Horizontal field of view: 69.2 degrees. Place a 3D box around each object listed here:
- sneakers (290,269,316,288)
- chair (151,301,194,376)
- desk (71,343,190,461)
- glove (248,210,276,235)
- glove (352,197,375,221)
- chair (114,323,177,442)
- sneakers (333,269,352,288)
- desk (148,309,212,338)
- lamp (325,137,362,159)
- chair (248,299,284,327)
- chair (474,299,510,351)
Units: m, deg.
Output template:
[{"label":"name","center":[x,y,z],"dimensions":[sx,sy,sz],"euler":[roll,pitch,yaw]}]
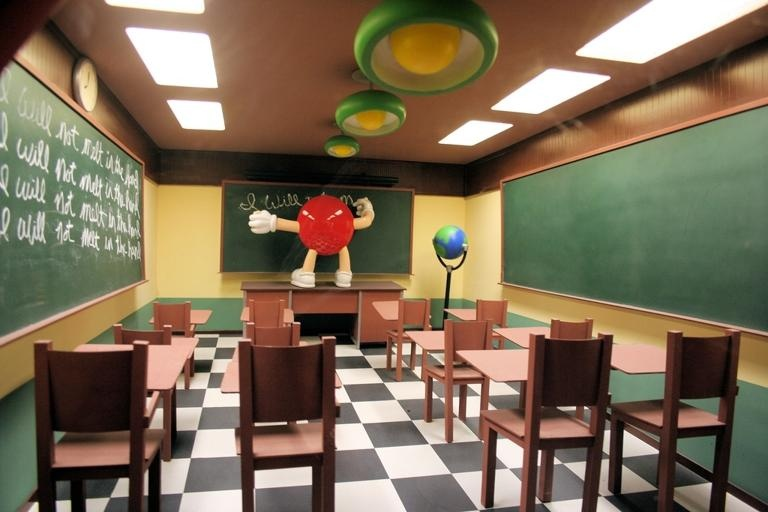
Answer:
[{"label":"sneakers","center":[-0.964,0.253,6.481],"dimensions":[0.320,0.218,0.208],"euler":[-1,-1,11]},{"label":"chair","center":[-1.925,0.671,5.112],"dimensions":[0.360,0.727,0.423],"euler":[2,19,-17]},{"label":"desk","center":[-1.639,0.984,3.896],"dimensions":[0.925,0.584,0.923],"euler":[2,13,-5]},{"label":"glove","center":[-1.388,-0.404,6.418],"dimensions":[0.298,0.257,0.189],"euler":[-1,-1,-10]},{"label":"glove","center":[-0.260,-0.591,6.860],"dimensions":[0.154,0.256,0.277],"euler":[0,-1,-36]},{"label":"chair","center":[-1.713,0.878,3.878],"dimensions":[0.416,0.727,0.438],"euler":[1,14,3]},{"label":"sneakers","center":[-0.484,0.265,6.568],"dimensions":[0.179,0.156,0.371],"euler":[1,4,-4]},{"label":"desk","center":[-1.877,0.603,5.065],"dimensions":[0.478,0.243,0.499],"euler":[0,-1,-4]},{"label":"lamp","center":[-0.399,-1.045,5.171],"dimensions":[0.286,0.190,0.333],"euler":[0,-1,-13]},{"label":"chair","center":[-1.009,0.475,4.817],"dimensions":[0.278,0.366,0.233],"euler":[1,17,-11]},{"label":"chair","center":[1.026,0.675,5.114],"dimensions":[0.297,0.501,0.293],"euler":[2,2,3]}]
